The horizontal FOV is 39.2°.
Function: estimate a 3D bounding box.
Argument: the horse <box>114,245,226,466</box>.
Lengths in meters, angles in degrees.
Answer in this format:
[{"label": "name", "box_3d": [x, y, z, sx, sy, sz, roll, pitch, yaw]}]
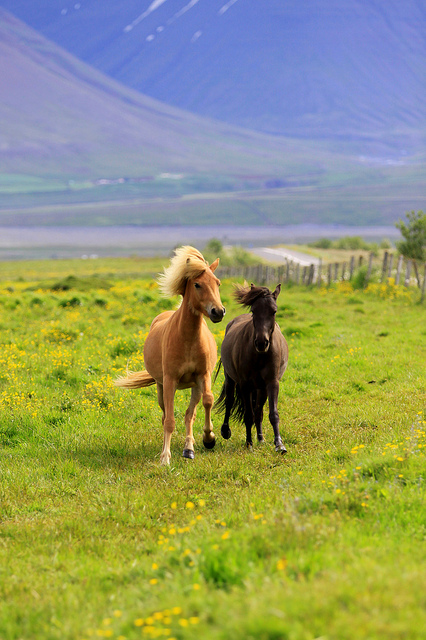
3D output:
[{"label": "horse", "box_3d": [-0.399, 0.423, 8.048, 0.965, 2.809, 1.975, -2, 6, -6]}]
